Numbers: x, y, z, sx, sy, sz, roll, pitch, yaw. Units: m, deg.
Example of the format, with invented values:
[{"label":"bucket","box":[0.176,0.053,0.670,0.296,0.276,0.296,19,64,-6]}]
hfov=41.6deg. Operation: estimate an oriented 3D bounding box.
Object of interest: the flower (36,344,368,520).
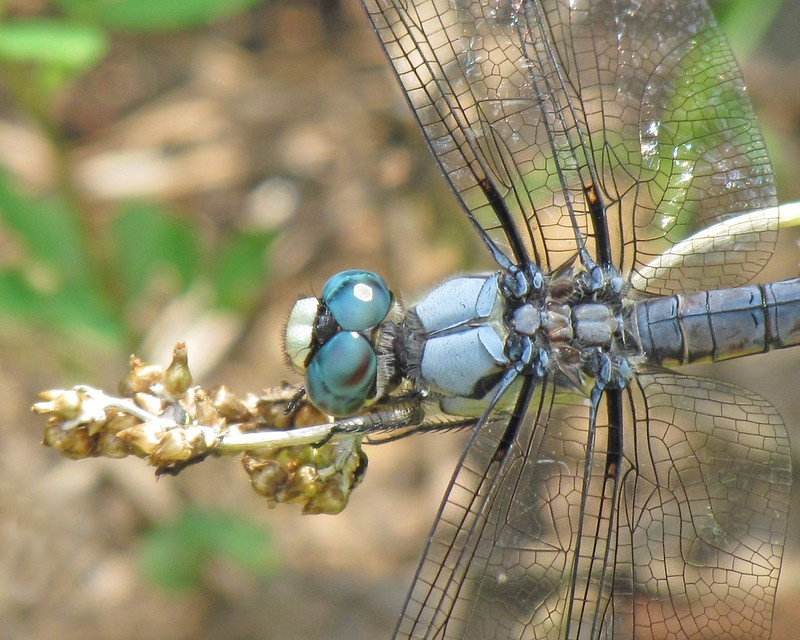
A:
[{"label":"flower","box":[-0.577,0.362,3.186,0.889,0.315,0.492,16,-17,-21]}]
